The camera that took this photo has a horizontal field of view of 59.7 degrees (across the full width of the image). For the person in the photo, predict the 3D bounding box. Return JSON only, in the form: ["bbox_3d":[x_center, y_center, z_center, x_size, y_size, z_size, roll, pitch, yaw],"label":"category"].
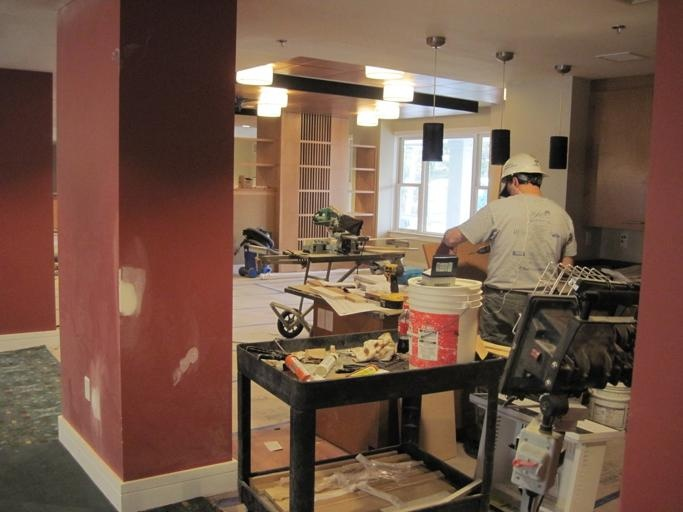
[{"bbox_3d":[1.505,0.220,4.645,1.119,2.046,0.793,5,19,23],"label":"person"}]

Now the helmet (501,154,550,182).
[{"bbox_3d":[1.326,-0.663,4.434,0.255,0.130,0.212,1,5,42],"label":"helmet"}]

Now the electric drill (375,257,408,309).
[{"bbox_3d":[0.423,0.193,4.781,0.242,0.379,0.238,-1,11,-5],"label":"electric drill"}]

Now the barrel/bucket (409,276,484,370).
[{"bbox_3d":[0.488,0.314,3.099,0.418,0.428,0.432,0,4,0],"label":"barrel/bucket"}]

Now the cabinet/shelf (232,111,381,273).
[{"bbox_3d":[-0.611,-1.153,10.577,3.204,3.132,1.020,-2,6,-29],"label":"cabinet/shelf"}]

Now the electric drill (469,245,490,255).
[{"bbox_3d":[1.286,-0.061,5.445,0.133,0.046,0.227,-1,-1,-11],"label":"electric drill"}]
